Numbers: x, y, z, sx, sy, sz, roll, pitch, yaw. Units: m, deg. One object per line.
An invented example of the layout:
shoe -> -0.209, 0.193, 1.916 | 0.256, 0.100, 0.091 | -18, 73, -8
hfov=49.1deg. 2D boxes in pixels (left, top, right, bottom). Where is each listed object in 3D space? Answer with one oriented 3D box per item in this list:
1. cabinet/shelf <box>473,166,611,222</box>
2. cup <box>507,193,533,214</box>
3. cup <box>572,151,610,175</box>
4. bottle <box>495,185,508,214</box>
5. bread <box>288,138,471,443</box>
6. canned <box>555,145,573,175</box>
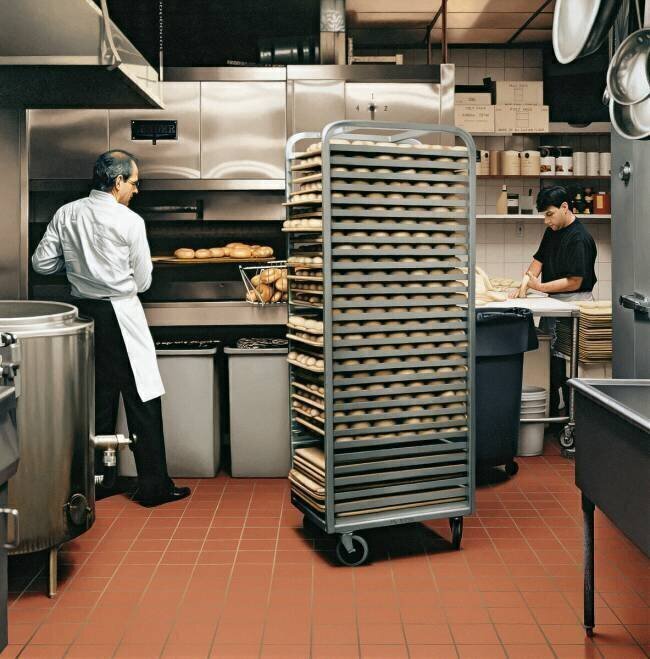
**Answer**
cabinet/shelf -> 1.826, -1.120, 5.730 | 0.410, 0.423, 1.347 | -22, 19, -24
cup -> 1.643, -1.054, 6.002 | 0.283, 0.193, 0.159 | 1, 9, 7
cup -> 2.202, -1.369, 5.898 | 0.292, 0.196, 0.147 | 1, 7, 15
bottle -> 1.511, -1.109, 6.072 | 0.090, 0.250, 0.211 | 1, 7, 13
bread -> 0.234, -0.124, 3.026 | 0.740, 1.337, 0.531 | -2, 7, -14
canned -> 1.958, -1.382, 5.837 | 0.114, 0.224, 0.052 | 0, 7, 10
